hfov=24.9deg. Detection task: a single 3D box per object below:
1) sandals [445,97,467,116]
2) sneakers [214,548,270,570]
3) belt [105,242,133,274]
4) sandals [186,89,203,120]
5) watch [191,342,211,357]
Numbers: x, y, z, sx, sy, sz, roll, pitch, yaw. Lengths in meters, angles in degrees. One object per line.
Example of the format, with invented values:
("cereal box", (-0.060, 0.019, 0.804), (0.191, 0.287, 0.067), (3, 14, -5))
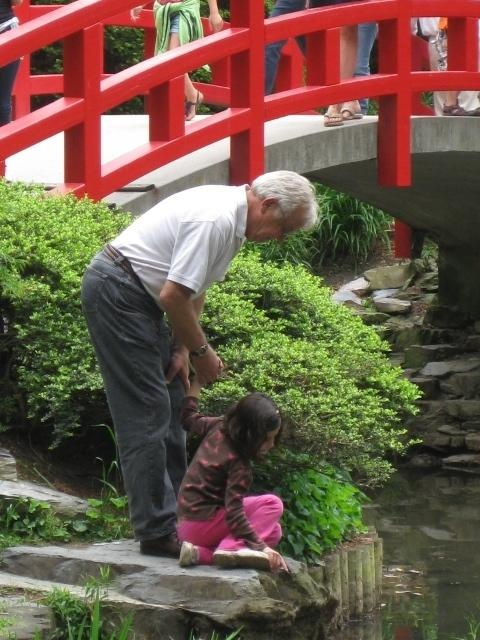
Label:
("sandals", (1.743, -1.743, 8.941), (0.221, 0.202, 0.099), (-3, 19, 2))
("sneakers", (0.003, 0.929, 4.266), (0.226, 0.082, 0.092), (5, 24, -5))
("belt", (-0.467, -0.228, 4.270), (0.060, 0.115, 0.101), (-42, 3, -1))
("sandals", (-0.369, -1.665, 8.810), (0.082, 0.110, 0.290), (-9, -36, -14))
("watch", (-0.158, 0.112, 4.303), (0.055, 0.057, 0.058), (-16, -34, -30))
